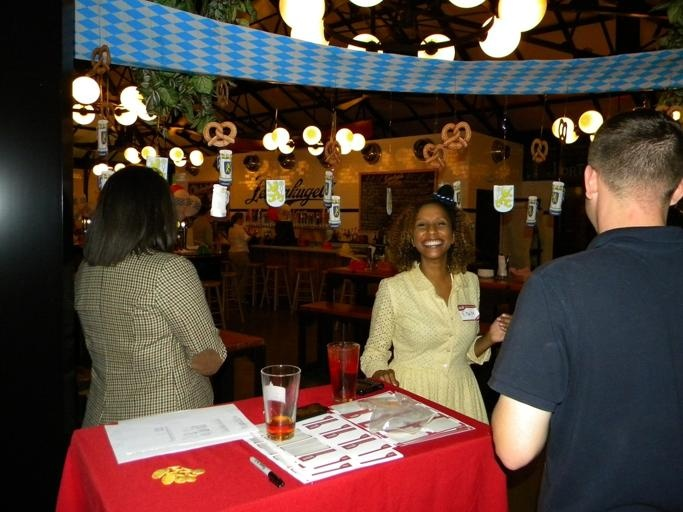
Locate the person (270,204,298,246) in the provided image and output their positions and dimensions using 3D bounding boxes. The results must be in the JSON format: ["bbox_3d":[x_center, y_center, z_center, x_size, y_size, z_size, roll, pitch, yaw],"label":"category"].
[{"bbox_3d":[-1.183,-0.614,10.854,0.505,0.683,2.286,-3,11,-6],"label":"person"}]

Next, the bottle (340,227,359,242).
[{"bbox_3d":[0.191,-0.451,11.173,0.401,0.235,0.648,-3,11,-10],"label":"bottle"}]

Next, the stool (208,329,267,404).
[{"bbox_3d":[-0.653,0.715,3.558,0.472,0.491,0.459,2,1,-32],"label":"stool"}]

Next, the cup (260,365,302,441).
[{"bbox_3d":[-0.187,0.460,1.592,0.140,0.210,0.140,-3,-2,0],"label":"cup"}]
